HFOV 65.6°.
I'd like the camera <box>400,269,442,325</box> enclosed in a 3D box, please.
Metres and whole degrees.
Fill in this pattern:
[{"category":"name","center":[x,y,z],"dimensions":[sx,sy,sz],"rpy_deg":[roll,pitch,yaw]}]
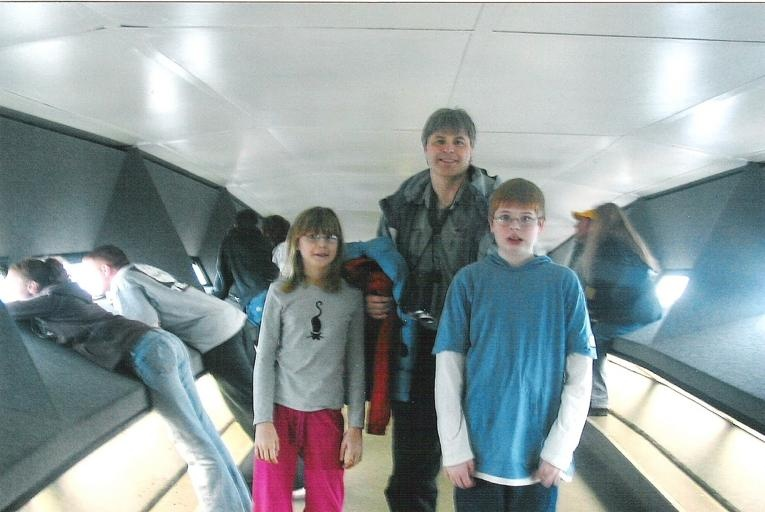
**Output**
[{"category":"camera","center":[0.118,0.127,1.890],"dimensions":[0.184,0.141,0.287],"rpy_deg":[2,8,6]}]
